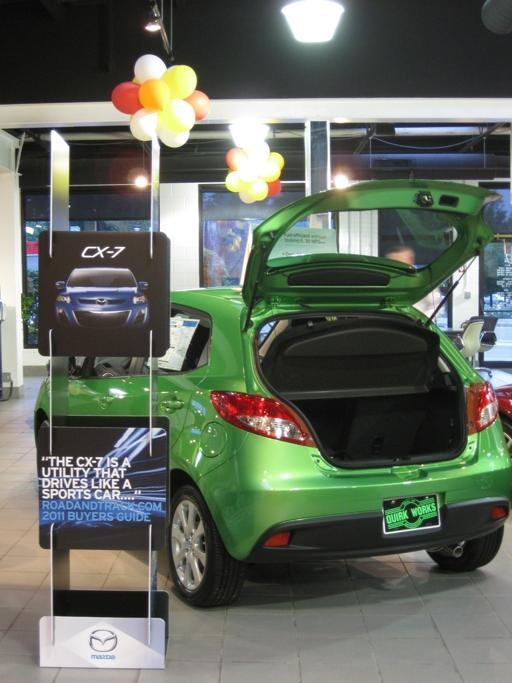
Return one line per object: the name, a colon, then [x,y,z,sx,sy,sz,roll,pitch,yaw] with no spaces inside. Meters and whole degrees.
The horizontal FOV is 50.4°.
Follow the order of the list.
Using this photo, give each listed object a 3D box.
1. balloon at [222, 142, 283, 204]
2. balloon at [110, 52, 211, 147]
balloon: [-0.028,-1.984,6.422,0.859,0.845,0.345,0,-7,-31]
balloon: [-0.709,-1.913,4.279,0.658,0.639,0.544,3,-6,-33]
